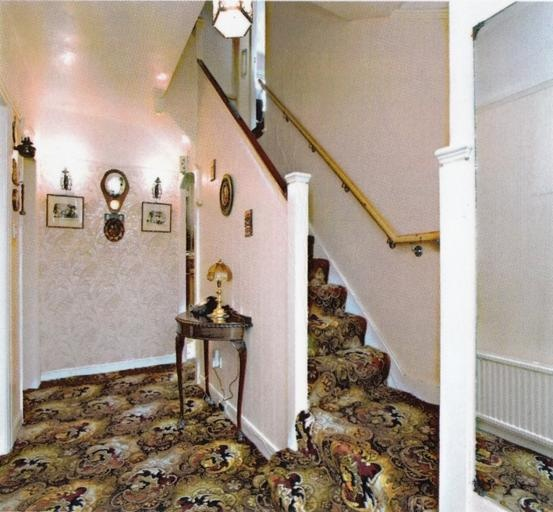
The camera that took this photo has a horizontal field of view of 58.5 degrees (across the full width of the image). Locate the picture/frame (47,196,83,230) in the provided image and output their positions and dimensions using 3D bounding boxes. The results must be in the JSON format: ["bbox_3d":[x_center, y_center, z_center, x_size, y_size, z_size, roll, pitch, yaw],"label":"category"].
[{"bbox_3d":[-1.992,-0.427,4.656,0.309,0.352,0.016,1,38,-25],"label":"picture/frame"}]

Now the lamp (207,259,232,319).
[{"bbox_3d":[-0.422,0.242,3.617,0.251,0.414,0.257,-2,-2,36],"label":"lamp"}]

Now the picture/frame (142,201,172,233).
[{"bbox_3d":[-1.266,-0.408,5.154,0.026,0.302,0.271,-5,-11,44],"label":"picture/frame"}]

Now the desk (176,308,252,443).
[{"bbox_3d":[-0.562,0.765,3.428,0.288,0.810,0.737,6,-4,-44],"label":"desk"}]
